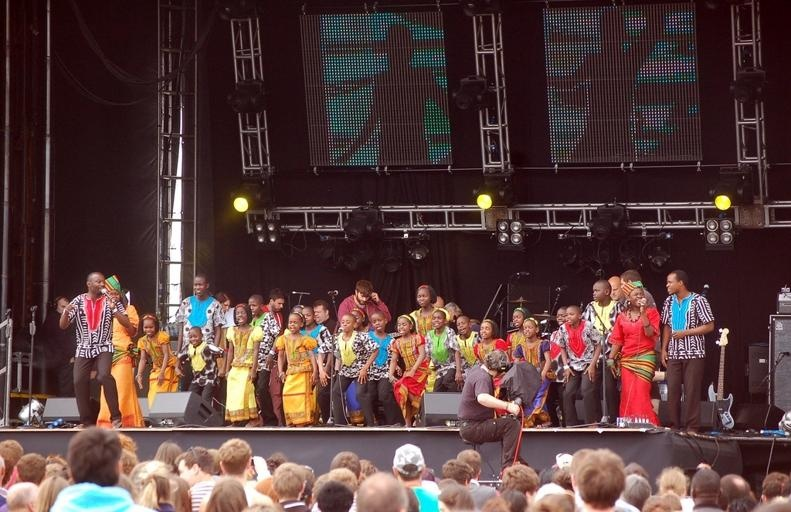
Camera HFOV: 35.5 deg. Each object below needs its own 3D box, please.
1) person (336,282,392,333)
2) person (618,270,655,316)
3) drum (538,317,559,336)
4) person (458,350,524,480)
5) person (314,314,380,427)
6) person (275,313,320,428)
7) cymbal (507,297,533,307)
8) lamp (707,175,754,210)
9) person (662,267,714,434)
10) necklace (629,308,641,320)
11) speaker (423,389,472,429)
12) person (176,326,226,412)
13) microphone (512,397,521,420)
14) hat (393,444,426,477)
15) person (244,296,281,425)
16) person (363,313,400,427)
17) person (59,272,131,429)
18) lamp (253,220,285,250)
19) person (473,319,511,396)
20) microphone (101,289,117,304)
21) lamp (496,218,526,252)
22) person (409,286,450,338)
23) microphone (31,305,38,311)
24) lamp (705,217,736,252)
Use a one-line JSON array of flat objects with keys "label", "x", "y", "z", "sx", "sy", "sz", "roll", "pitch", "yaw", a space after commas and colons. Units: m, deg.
[{"label": "person", "x": -0.607, "y": 1.065, "z": 20.324, "sx": 0.838, "sy": 1.261, "sz": 0.634, "roll": -5, "pitch": 11, "yaw": -33}, {"label": "person", "x": 3.555, "y": 0.490, "z": 18.320, "sx": 0.490, "sy": 0.620, "sz": 0.824, "roll": -3, "pitch": -8, "yaw": 10}, {"label": "drum", "x": 2.569, "y": 1.192, "z": 20.973, "sx": 0.334, "sy": 0.348, "sz": 0.297, "roll": 3, "pitch": 1, "yaw": -41}, {"label": "person", "x": 1.282, "y": 2.208, "z": 16.891, "sx": 0.904, "sy": 1.754, "sz": 0.859, "roll": 0, "pitch": 3, "yaw": 0}, {"label": "person", "x": -0.721, "y": 1.791, "z": 19.316, "sx": 0.884, "sy": 1.795, "sz": 0.545, "roll": -3, "pitch": 12, "yaw": -3}, {"label": "person", "x": -1.562, "y": 1.752, "z": 19.298, "sx": 0.660, "sy": 1.766, "sz": 0.434, "roll": -1, "pitch": -7, "yaw": -6}, {"label": "cymbal", "x": 2.172, "y": 0.817, "z": 21.828, "sx": 0.246, "sy": 0.131, "sz": 0.254, "roll": 23, "pitch": -20, "yaw": -35}, {"label": "lamp", "x": 5.519, "y": -0.989, "z": 20.753, "sx": 0.512, "sy": 0.508, "sz": 0.485, "roll": 5, "pitch": 6, "yaw": 8}, {"label": "person", "x": 4.237, "y": 1.364, "z": 17.960, "sx": 0.718, "sy": 2.309, "sz": 0.385, "roll": -3, "pitch": -7, "yaw": 11}, {"label": "necklace", "x": 3.475, "y": 0.857, "z": 18.030, "sx": 0.214, "sy": 0.168, "sz": 0.065, "roll": -8, "pitch": -10, "yaw": 41}, {"label": "speaker", "x": 0.714, "y": 2.191, "z": 18.092, "sx": 0.640, "sy": 0.609, "sz": 0.500, "roll": 1, "pitch": -1, "yaw": 0}, {"label": "person", "x": -3.107, "y": 1.712, "z": 19.605, "sx": 0.766, "sy": 1.217, "sz": 0.466, "roll": -3, "pitch": -7, "yaw": 12}, {"label": "microphone", "x": 1.660, "y": 2.061, "z": 16.619, "sx": 0.110, "sy": 0.275, "sz": 0.195, "roll": 3, "pitch": -3, "yaw": -19}, {"label": "hat", "x": 0.144, "y": 2.409, "z": 14.692, "sx": 0.364, "sy": 0.333, "sz": 0.585, "roll": 2, "pitch": 8, "yaw": 0}, {"label": "person", "x": -2.077, "y": 1.638, "z": 19.720, "sx": 0.469, "sy": 2.091, "sz": 0.635, "roll": -1, "pitch": -7, "yaw": -9}, {"label": "person", "x": -0.316, "y": 1.751, "z": 19.273, "sx": 0.627, "sy": 1.737, "sz": 0.646, "roll": 1, "pitch": -8, "yaw": -23}, {"label": "person", "x": -4.648, "y": 1.450, "z": 18.995, "sx": 0.962, "sy": 2.332, "sz": 0.645, "roll": 0, "pitch": -7, "yaw": -14}, {"label": "lamp", "x": -2.289, "y": -0.396, "z": 21.654, "sx": 0.482, "sy": 0.496, "sz": 0.141, "roll": -2, "pitch": -7, "yaw": -1}, {"label": "person", "x": 1.480, "y": 1.705, "z": 19.560, "sx": 0.568, "sy": 1.346, "sz": 0.408, "roll": 4, "pitch": 12, "yaw": 22}, {"label": "microphone", "x": -4.462, "y": 0.606, "z": 19.111, "sx": 0.183, "sy": 0.218, "sz": 0.233, "roll": -24, "pitch": -1, "yaw": 5}, {"label": "lamp", "x": 1.982, "y": -0.368, "z": 21.320, "sx": 0.467, "sy": 0.478, "sz": 0.500, "roll": -1, "pitch": -11, "yaw": 9}, {"label": "person", "x": 0.564, "y": 0.925, "z": 20.157, "sx": 0.547, "sy": 0.851, "sz": 0.366, "roll": -19, "pitch": -24, "yaw": 35}, {"label": "microphone", "x": -6.048, "y": 0.858, "z": 20.526, "sx": 0.095, "sy": 0.044, "sz": 0.132, "roll": 0, "pitch": 0, "yaw": -4}, {"label": "lamp", "x": 5.508, "y": -0.454, "z": 20.931, "sx": 0.502, "sy": 0.559, "sz": 0.593, "roll": -2, "pitch": 15, "yaw": 9}]
